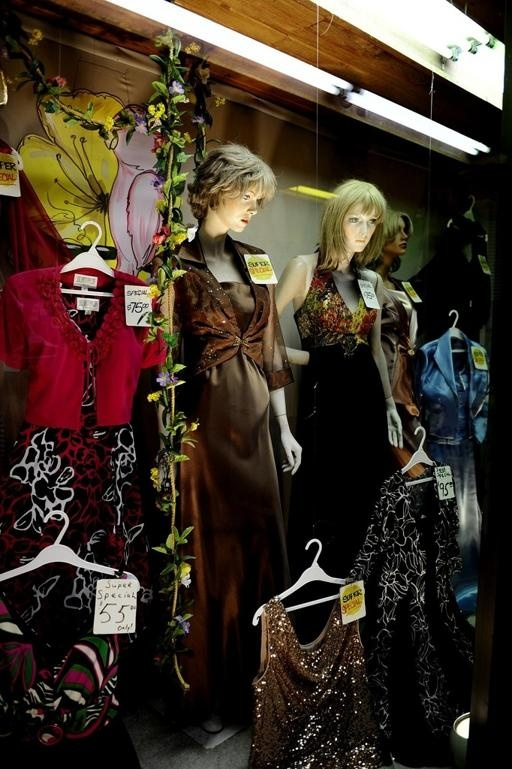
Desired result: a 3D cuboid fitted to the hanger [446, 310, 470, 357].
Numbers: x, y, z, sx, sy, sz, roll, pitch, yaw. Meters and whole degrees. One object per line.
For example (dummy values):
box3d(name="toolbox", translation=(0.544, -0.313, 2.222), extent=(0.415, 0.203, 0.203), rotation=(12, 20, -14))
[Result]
box3d(name="hanger", translation=(0.951, -0.248, 2.405), extent=(0.127, 0.202, 0.035), rotation=(-3, 5, -33))

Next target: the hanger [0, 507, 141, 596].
box3d(name="hanger", translation=(-0.480, 0.420, 1.289), extent=(0.260, 0.149, 0.006), rotation=(4, 3, -30))

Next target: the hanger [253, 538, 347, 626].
box3d(name="hanger", translation=(0.136, 0.659, 1.706), extent=(0.348, 0.235, 0.009), rotation=(-4, 4, -44))

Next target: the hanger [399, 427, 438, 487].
box3d(name="hanger", translation=(0.679, 0.273, 2.152), extent=(0.008, 0.180, 0.261), rotation=(13, 17, 42))

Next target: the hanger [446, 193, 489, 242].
box3d(name="hanger", translation=(0.956, -0.761, 2.334), extent=(0.114, 0.212, 0.228), rotation=(6, 0, 39))

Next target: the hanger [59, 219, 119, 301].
box3d(name="hanger", translation=(-0.426, -0.320, 1.305), extent=(0.029, 0.187, 0.136), rotation=(5, 6, 43))
